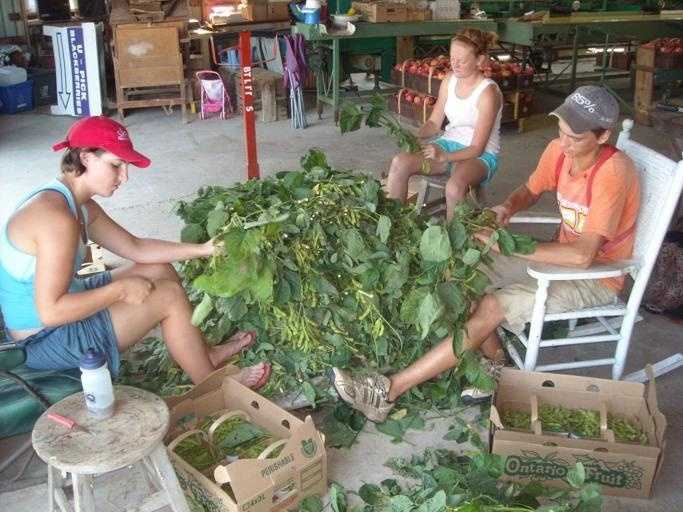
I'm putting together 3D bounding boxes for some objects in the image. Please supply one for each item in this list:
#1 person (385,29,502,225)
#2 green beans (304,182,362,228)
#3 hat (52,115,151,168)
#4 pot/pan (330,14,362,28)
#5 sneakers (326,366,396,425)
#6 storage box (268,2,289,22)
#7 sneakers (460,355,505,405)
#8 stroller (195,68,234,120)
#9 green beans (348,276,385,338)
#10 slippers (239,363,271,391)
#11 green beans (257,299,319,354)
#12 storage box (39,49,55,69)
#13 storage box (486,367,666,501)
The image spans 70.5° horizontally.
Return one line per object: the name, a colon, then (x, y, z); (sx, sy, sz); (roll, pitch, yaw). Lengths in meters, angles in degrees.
person: (0.802, -0.857, 3.623); (0.999, 1.459, 0.661); (-36, 46, -23)
green beans: (-0.050, -0.205, 2.305); (0.273, 0.136, 0.242); (13, 39, -1)
hat: (-0.945, -0.465, 1.951); (0.391, 0.153, 0.206); (7, 11, -5)
pot/pan: (0.064, -3.228, 6.607); (0.372, 0.178, 0.449); (-1, 21, 1)
sneakers: (0.114, 0.618, 2.221); (0.428, 0.200, 0.135); (28, 25, -31)
storage box: (-1.262, -4.873, 9.621); (0.551, 0.265, 0.452); (-2, 35, -4)
sneakers: (0.654, 0.621, 2.400); (0.323, 0.102, 0.160); (-25, 21, 13)
stroller: (-2.011, -2.501, 7.679); (0.507, 0.573, 0.694); (-5, 23, -8)
green beans: (0.123, 0.253, 2.349); (0.162, 0.267, 0.078); (-24, 8, -7)
slippers: (-0.413, 0.570, 2.300); (0.162, 0.084, 0.055); (-27, 1, -28)
green beans: (-0.229, 0.338, 2.299); (0.334, 0.186, 0.080); (18, 20, 6)
storage box: (-5.478, -3.667, 8.989); (0.278, 0.346, 0.734); (-14, 25, -25)
storage box: (1.006, 0.880, 2.248); (0.892, 0.441, 0.539); (5, 33, 12)
